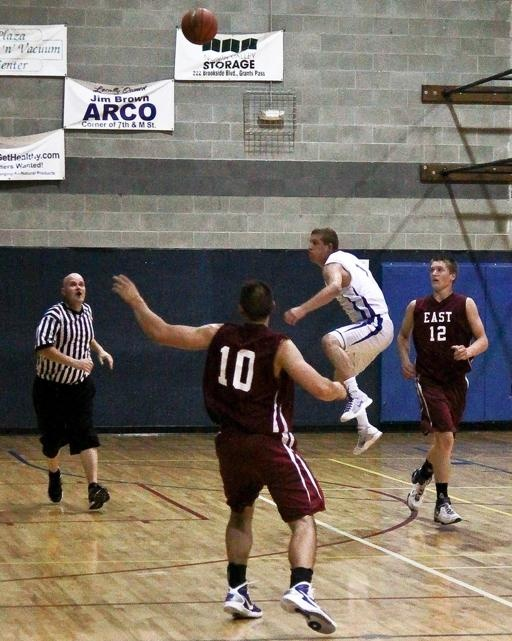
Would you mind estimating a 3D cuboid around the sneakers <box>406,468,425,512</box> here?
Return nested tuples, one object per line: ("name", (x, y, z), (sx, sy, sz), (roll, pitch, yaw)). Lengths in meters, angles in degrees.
("sneakers", (1.117, 1.178, 5.938), (0.121, 0.323, 0.158), (6, 8, 0))

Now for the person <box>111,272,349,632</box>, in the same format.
("person", (-0.034, 0.551, 3.487), (0.851, 1.448, 0.765), (2, -3, -22))

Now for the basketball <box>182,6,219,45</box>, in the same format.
("basketball", (-0.537, -2.848, 8.177), (0.314, 0.360, 0.383), (1, -2, 2))

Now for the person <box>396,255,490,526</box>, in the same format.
("person", (1.227, 0.465, 5.738), (0.494, 1.775, 0.739), (2, -3, -21))

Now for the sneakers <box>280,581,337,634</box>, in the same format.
("sneakers", (0.201, 1.101, 3.209), (0.200, 0.206, 0.126), (2, -3, -26))

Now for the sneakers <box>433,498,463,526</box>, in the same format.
("sneakers", (1.219, 1.236, 5.470), (0.100, 0.135, 0.274), (-2, -12, -11))

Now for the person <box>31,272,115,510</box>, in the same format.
("person", (-1.304, 0.497, 6.056), (0.558, 1.674, 0.991), (1, -3, -9))

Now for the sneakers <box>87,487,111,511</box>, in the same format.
("sneakers", (-1.077, 1.231, 5.874), (0.113, 0.106, 0.234), (-1, -38, -18))
